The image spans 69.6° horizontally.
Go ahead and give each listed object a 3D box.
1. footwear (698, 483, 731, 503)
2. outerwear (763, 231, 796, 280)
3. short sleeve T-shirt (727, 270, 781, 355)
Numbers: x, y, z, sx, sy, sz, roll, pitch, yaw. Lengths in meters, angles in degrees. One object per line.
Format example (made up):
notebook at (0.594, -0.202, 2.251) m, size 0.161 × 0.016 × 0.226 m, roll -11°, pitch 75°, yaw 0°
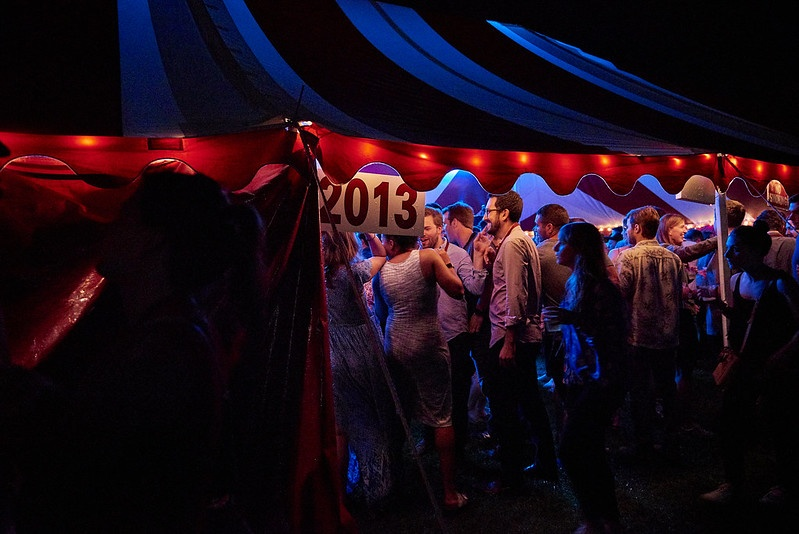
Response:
footwear at (2.484, 1.756, 4.492) m, size 0.171 × 0.069 × 0.129 m, roll -14°, pitch -3°, yaw 20°
outerwear at (3.267, -0.079, 4.934) m, size 0.289 × 0.387 × 0.207 m, roll 13°, pitch -7°, yaw 17°
short sleeve T-shirt at (2.751, 0.363, 4.423) m, size 0.333 × 0.686 × 0.491 m, roll 9°, pitch -8°, yaw -7°
